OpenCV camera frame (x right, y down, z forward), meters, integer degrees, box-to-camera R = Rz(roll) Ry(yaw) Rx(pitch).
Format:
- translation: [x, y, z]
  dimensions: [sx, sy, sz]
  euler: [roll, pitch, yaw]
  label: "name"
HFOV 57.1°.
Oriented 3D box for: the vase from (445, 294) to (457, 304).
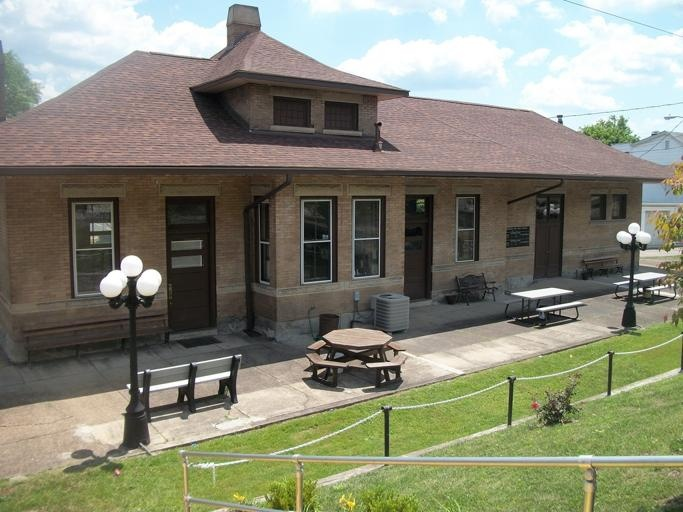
- translation: [3.889, 1.506, 22.369]
  dimensions: [0.429, 0.259, 0.410]
  euler: [-2, -5, 39]
  label: "vase"
